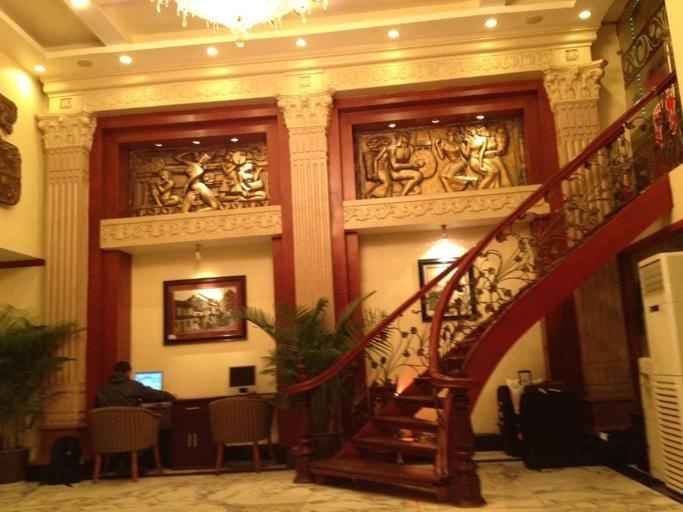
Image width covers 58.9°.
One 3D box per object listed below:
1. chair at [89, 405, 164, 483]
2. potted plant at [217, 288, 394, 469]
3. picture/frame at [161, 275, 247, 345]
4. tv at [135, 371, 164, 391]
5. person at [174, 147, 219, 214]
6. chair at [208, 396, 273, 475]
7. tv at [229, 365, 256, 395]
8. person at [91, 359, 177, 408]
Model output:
[{"bbox_3d":[-2.843,2.469,7.941,0.931,0.771,0.811,-11,-20,21],"label":"chair"},{"bbox_3d":[-0.318,1.649,8.665,2.865,2.233,2.232,-1,-9,5],"label":"potted plant"},{"bbox_3d":[-2.144,0.906,9.619,1.382,0.798,0.046,-3,-10,3],"label":"picture/frame"},{"bbox_3d":[-2.912,1.916,9.285,0.475,0.258,0.395,1,-8,-6],"label":"tv"},{"bbox_3d":[-2.338,-1.205,9.897,0.720,1.004,0.171,-4,-14,16],"label":"person"},{"bbox_3d":[-1.382,2.434,8.200,0.985,0.836,0.967,-21,-26,37],"label":"chair"},{"bbox_3d":[-1.477,1.870,9.116,0.563,0.444,0.163,0,-15,0],"label":"tv"},{"bbox_3d":[-2.962,1.845,8.569,1.209,0.576,0.659,0,-6,12],"label":"person"}]
